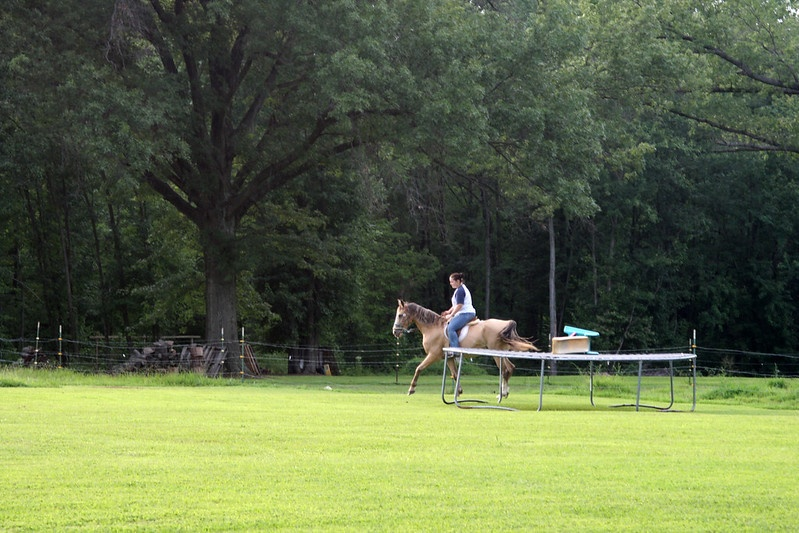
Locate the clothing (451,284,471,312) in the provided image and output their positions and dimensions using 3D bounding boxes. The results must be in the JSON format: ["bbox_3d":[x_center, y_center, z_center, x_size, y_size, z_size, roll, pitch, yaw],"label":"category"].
[{"bbox_3d":[2.231,1.161,46.414,0.727,1.163,1.161,2,-1,20],"label":"clothing"}]

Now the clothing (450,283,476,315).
[{"bbox_3d":[2.293,1.207,46.486,0.782,1.218,1.247,2,-1,15],"label":"clothing"}]
